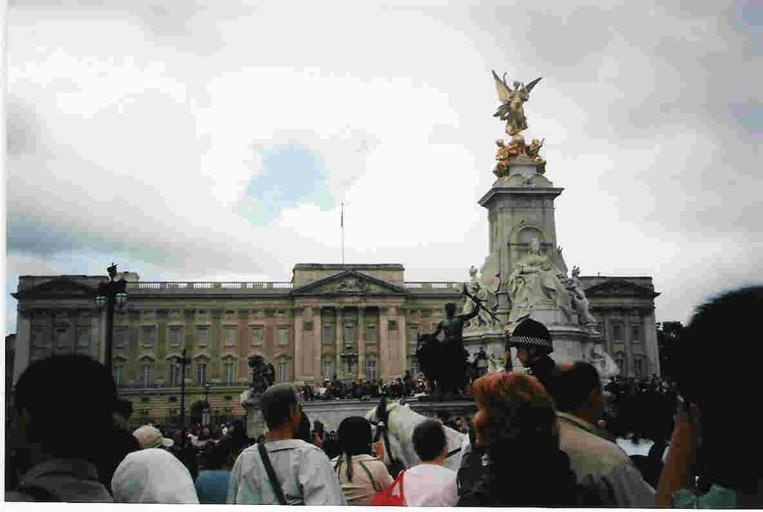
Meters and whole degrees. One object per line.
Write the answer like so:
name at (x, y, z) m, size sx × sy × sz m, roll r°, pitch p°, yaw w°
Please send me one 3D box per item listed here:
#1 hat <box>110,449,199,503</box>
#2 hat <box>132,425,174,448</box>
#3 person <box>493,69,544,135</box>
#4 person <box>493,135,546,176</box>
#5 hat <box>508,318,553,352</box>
hat at (-2.395, 2.336, 10.131) m, size 0.789 × 0.408 × 0.517 m, roll 4°, pitch -6°, yaw 11°
hat at (-2.466, 1.980, 10.350) m, size 0.360 × 0.275 × 0.114 m, roll 5°, pitch -55°, yaw -49°
person at (4.676, -5.516, 34.558) m, size 1.201 × 2.335 × 0.719 m, roll -5°, pitch -11°, yaw 19°
person at (4.808, -3.628, 34.103) m, size 1.820 × 1.494 × 0.601 m, roll -7°, pitch -12°, yaw 32°
hat at (1.569, 0.806, 10.056) m, size 0.405 × 0.363 × 0.306 m, roll 16°, pitch -9°, yaw 21°
